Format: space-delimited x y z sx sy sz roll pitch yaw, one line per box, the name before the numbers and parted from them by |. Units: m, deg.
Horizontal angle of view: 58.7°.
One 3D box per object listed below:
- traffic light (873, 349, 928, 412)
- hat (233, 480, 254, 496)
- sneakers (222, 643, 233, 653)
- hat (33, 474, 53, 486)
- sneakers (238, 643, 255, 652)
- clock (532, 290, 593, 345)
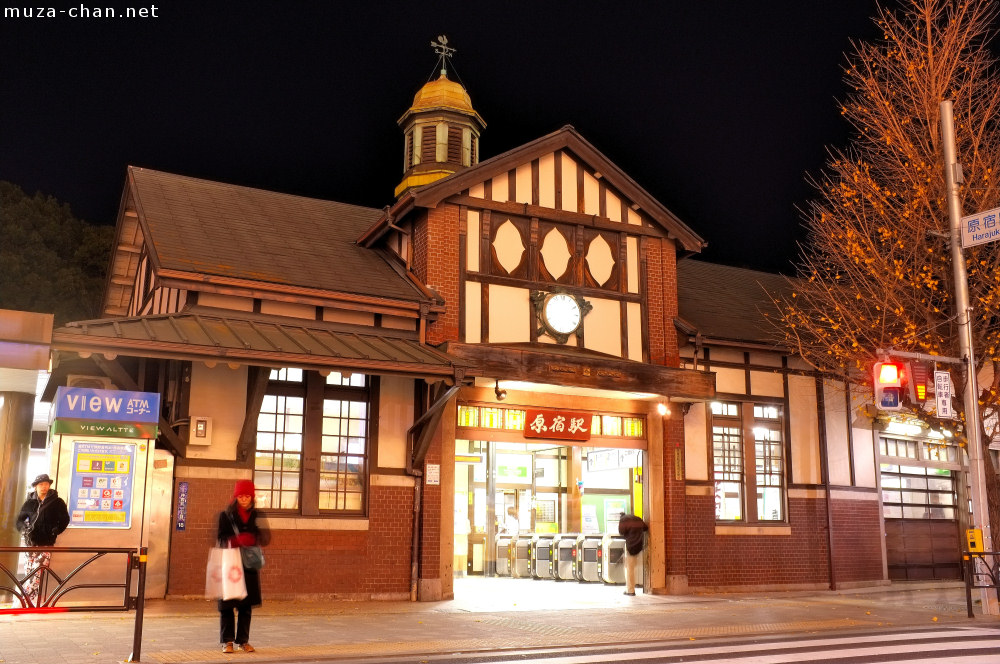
traffic light | 8.927 1.090 20.318 1.141 1.431 0.617 4 3 -2
hat | -4.352 2.632 15.063 0.262 0.266 0.340 4 0 -10
sneakers | -4.480 5.203 14.672 0.142 0.149 0.156 -1 -4 25
hat | -9.291 3.015 18.075 0.384 0.162 0.454 1 -20 -29
sneakers | -4.205 5.235 14.741 0.256 0.104 0.119 -3 -9 31
clock | 1.552 -0.377 23.444 1.418 1.102 0.184 5 -15 -33
